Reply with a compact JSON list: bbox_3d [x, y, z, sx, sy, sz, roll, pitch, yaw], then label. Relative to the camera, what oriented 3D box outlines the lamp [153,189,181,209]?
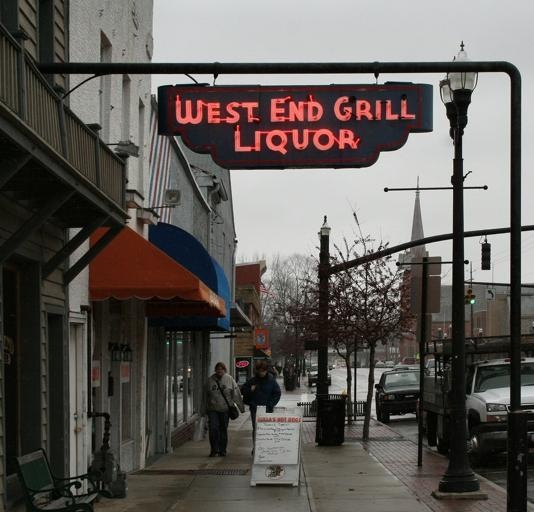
[{"bbox_3d":[-1.897,-1.110,20.660,0.316,0.555,0.516,3,0,13],"label":"lamp"}]

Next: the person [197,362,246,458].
[{"bbox_3d":[-0.789,2.689,18.746,0.585,1.783,0.485,-4,18,-11],"label":"person"}]

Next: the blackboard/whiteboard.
[{"bbox_3d":[0.167,2.841,15.561,0.645,1.273,0.762,2,-1,3],"label":"blackboard/whiteboard"}]

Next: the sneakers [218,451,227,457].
[{"bbox_3d":[-0.793,3.510,18.893,0.108,0.140,0.068,2,0,10],"label":"sneakers"}]

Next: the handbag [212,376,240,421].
[{"bbox_3d":[-0.655,2.571,18.651,0.192,1.005,0.279,-12,14,48],"label":"handbag"}]

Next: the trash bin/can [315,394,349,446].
[{"bbox_3d":[1.338,3.345,21.612,0.627,1.184,0.779,2,-7,-2],"label":"trash bin/can"}]
